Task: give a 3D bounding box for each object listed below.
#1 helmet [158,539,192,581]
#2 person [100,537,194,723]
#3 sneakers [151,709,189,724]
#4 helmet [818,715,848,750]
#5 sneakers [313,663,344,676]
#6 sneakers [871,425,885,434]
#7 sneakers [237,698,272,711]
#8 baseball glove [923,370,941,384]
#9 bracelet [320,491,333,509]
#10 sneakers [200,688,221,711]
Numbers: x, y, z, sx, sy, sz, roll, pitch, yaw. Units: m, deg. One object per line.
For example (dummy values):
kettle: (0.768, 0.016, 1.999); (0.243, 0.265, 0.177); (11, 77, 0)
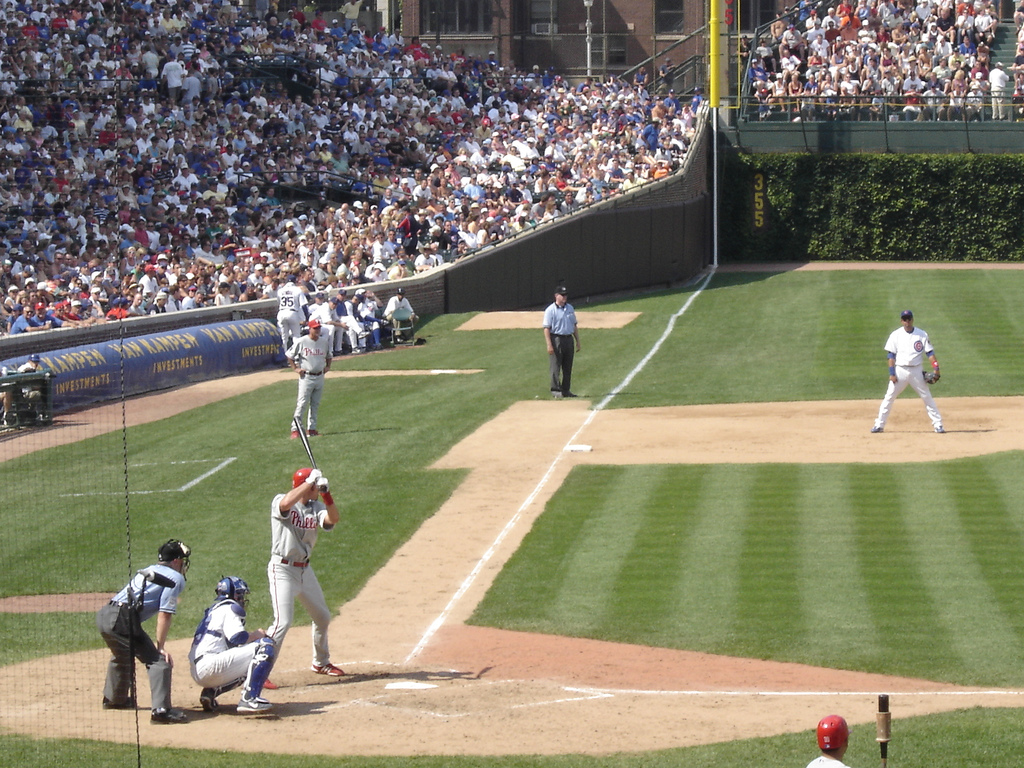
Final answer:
helmet: (-5.056, 2.493, 29.541); (0.426, 0.503, 0.496); (14, 20, 17)
person: (-5.451, 3.606, 29.293); (1.401, 2.506, 1.066); (-4, 11, -7)
sneakers: (-5.045, 4.827, 29.056); (0.524, 0.233, 0.215); (0, 4, -5)
helmet: (4.020, 4.354, 25.163); (0.314, 0.360, 0.434); (4, 21, 19)
sneakers: (-2.836, 4.324, 30.386); (0.456, 0.185, 0.181); (0, 3, 7)
sneakers: (7.101, 0.846, 38.811); (0.127, 0.150, 0.382); (0, -3, 18)
sneakers: (-3.807, 4.669, 29.196); (0.521, 0.250, 0.189); (-1, 3, 2)
baseball glove: (7.977, -0.165, 38.284); (0.406, 0.248, 0.318); (-1, -2, 28)
bracelet: (-2.803, 1.658, 29.747); (0.151, 0.188, 0.207); (8, 24, 3)
sneakers: (-4.521, 4.630, 29.408); (0.156, 0.419, 0.281); (-4, 25, 3)
